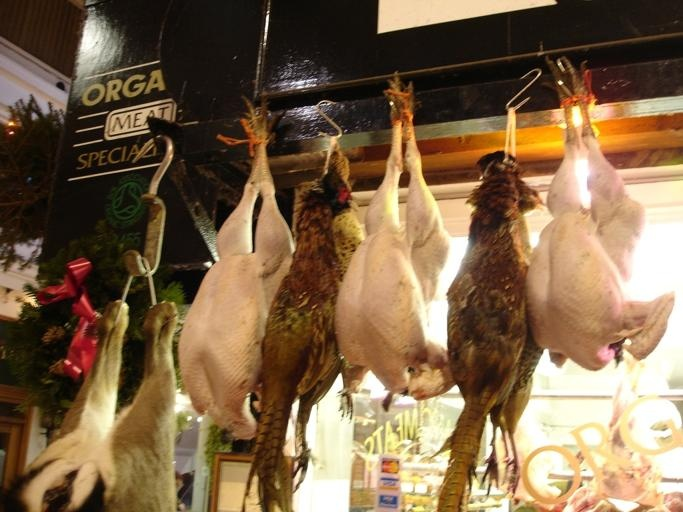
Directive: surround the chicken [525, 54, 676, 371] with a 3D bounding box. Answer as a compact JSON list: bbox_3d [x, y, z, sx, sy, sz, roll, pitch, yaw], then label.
[{"bbox_3d":[0.437,-0.087,1.130,0.223,0.563,0.141,-3,-17,14],"label":"chicken"}]
